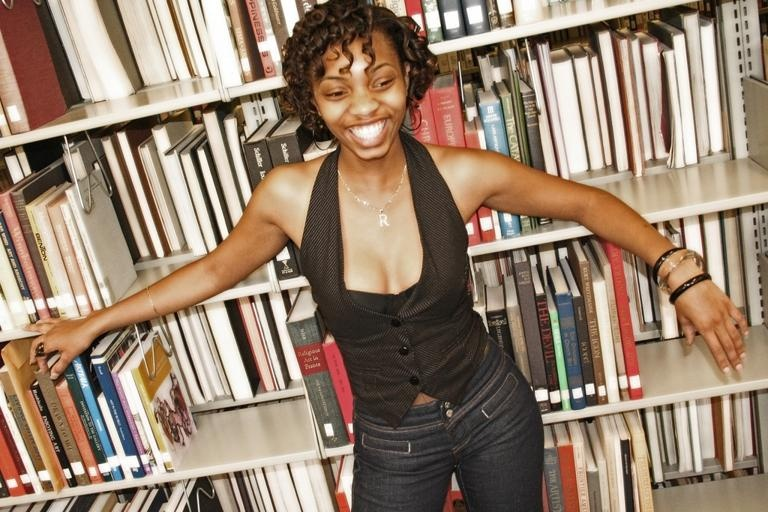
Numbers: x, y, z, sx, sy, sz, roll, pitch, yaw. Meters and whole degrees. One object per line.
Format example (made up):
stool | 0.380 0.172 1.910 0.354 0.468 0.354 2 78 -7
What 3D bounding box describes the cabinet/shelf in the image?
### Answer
cabinet/shelf | -0.022 -0.047 2.174 1.594 2.038 0.580 -14 42 -7
